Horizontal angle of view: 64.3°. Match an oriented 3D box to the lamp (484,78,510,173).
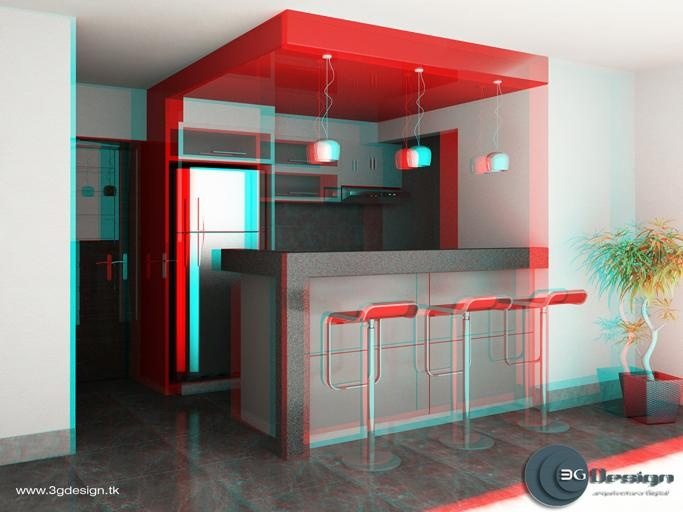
[{"bbox_3d":[1.651,-1.357,5.757,0.224,0.928,0.804,-2,5,17],"label":"lamp"}]
